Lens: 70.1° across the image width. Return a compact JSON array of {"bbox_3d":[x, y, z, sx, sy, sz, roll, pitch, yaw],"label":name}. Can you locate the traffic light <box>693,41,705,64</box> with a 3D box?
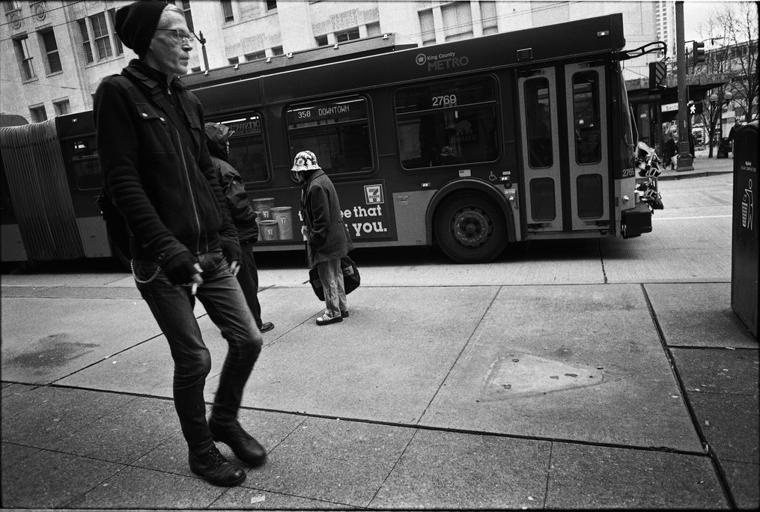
[{"bbox_3d":[11.303,-7.291,19.240,0.265,0.799,0.882,0,11,28],"label":"traffic light"}]

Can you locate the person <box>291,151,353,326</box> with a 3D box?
[{"bbox_3d":[-0.708,-0.249,6.961,0.614,2.187,0.475,-6,9,-5],"label":"person"}]

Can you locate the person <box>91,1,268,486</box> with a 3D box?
[{"bbox_3d":[-1.441,-0.063,3.961,0.884,3.548,0.688,-10,11,-29],"label":"person"}]

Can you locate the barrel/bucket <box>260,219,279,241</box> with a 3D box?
[{"bbox_3d":[-2.166,-0.543,10.990,0.405,0.614,0.380,-1,5,0],"label":"barrel/bucket"}]

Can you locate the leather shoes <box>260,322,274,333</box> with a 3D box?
[{"bbox_3d":[-1.420,0.910,6.889,0.176,0.078,0.071,-16,25,-23],"label":"leather shoes"}]

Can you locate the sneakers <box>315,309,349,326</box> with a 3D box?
[{"bbox_3d":[-0.628,0.799,7.009,0.454,0.203,0.168,2,6,-2],"label":"sneakers"}]

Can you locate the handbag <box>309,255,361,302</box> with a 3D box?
[{"bbox_3d":[-0.596,0.309,7.151,0.562,0.617,0.627,-20,17,5],"label":"handbag"}]

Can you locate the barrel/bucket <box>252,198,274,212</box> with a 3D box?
[{"bbox_3d":[-2.318,-1.050,10.821,0.295,0.320,0.317,-1,11,0],"label":"barrel/bucket"}]
